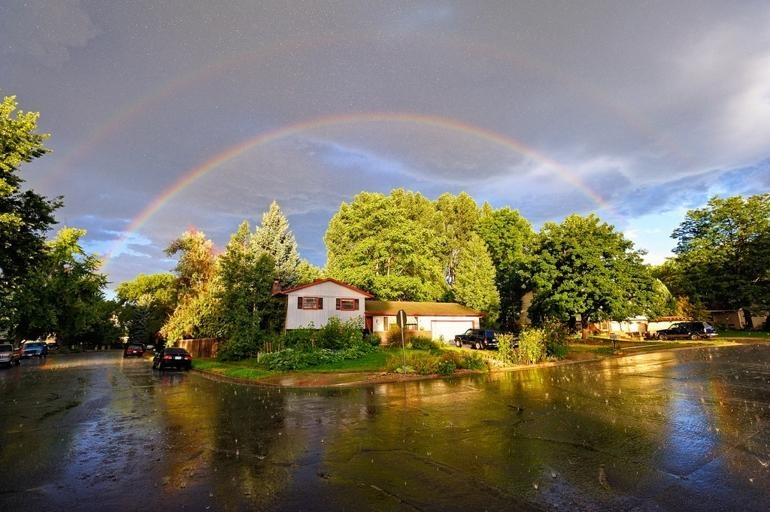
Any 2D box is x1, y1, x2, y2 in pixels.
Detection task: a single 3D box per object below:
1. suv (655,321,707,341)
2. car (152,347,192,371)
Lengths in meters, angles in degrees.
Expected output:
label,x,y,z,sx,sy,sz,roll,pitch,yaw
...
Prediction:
label,x,y,z,sx,sy,sz,roll,pitch,yaw
suv,32.397,8.180,51.311,4.059,1.749,1.975,-6,-10,44
car,-16.923,8.146,37.230,3.044,1.804,2.007,-4,-3,36
